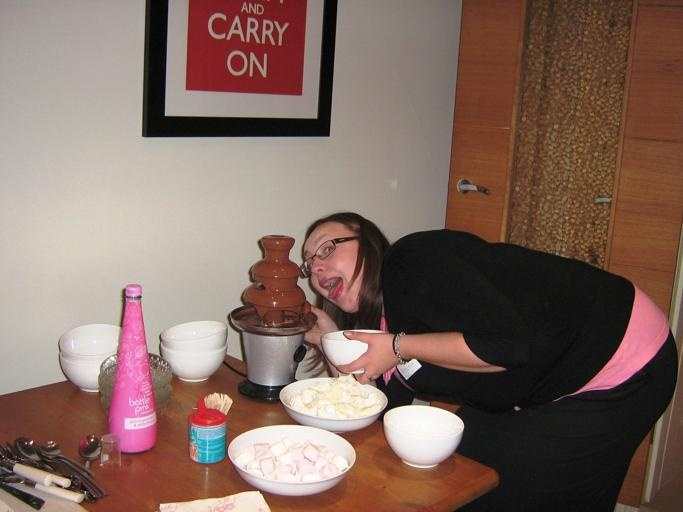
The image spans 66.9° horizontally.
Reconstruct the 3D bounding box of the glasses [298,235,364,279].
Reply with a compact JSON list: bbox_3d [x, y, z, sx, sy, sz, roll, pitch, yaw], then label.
[{"bbox_3d":[-0.047,-0.002,1.729,0.147,0.040,0.144,-31,-9,-46],"label":"glasses"}]

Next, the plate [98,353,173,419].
[{"bbox_3d":[-0.545,0.321,1.375,0.167,0.108,0.171,-1,-1,32],"label":"plate"}]

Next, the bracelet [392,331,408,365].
[{"bbox_3d":[0.167,0.260,1.419,0.023,0.068,0.058,-3,4,15],"label":"bracelet"}]

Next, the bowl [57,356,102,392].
[{"bbox_3d":[-0.716,0.304,1.420,0.102,0.084,0.102,2,0,0],"label":"bowl"}]

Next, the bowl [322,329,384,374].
[{"bbox_3d":[0.007,0.270,1.509,0.137,0.087,0.143,0,-10,0],"label":"bowl"}]

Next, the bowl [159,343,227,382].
[{"bbox_3d":[-0.430,0.312,1.517,0.128,0.078,0.132,1,-7,0],"label":"bowl"}]
